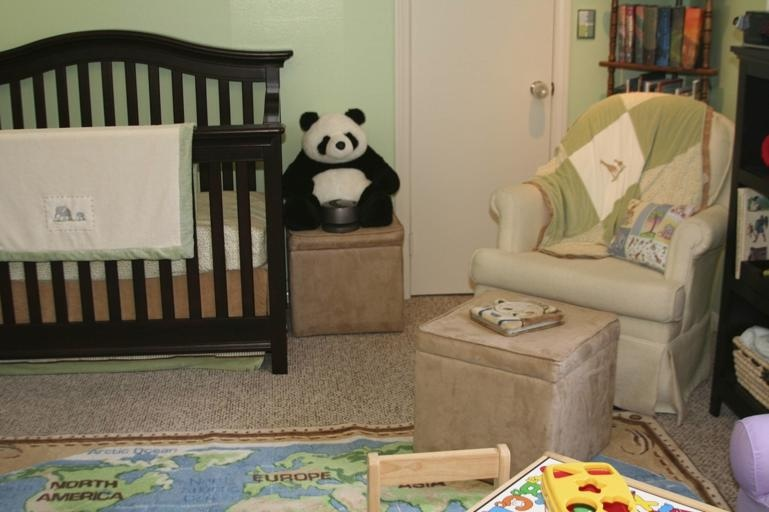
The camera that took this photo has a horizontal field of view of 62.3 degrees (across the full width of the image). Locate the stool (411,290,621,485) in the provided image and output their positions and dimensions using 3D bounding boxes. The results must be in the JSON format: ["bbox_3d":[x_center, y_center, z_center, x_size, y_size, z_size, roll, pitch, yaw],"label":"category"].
[{"bbox_3d":[0.537,0.612,2.683,0.769,0.563,0.756,10,-2,-37],"label":"stool"}]

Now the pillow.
[{"bbox_3d":[1.287,-0.108,3.055,0.097,0.339,0.358,28,-4,-29],"label":"pillow"}]

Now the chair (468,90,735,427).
[{"bbox_3d":[1.114,-0.075,3.199,1.206,1.258,1.125,-14,22,-38],"label":"chair"}]

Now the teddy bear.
[{"bbox_3d":[-0.261,-0.501,3.733,0.689,0.639,0.495,-3,28,-10],"label":"teddy bear"}]

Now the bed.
[{"bbox_3d":[-1.197,-0.215,3.140,1.776,1.535,0.954,-2,14,-8],"label":"bed"}]

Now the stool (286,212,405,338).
[{"bbox_3d":[-0.235,0.093,3.786,0.657,0.548,0.629,-2,11,-7],"label":"stool"}]

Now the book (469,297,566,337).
[{"bbox_3d":[0.510,0.240,2.503,0.193,0.051,0.189,-13,15,-42],"label":"book"}]
